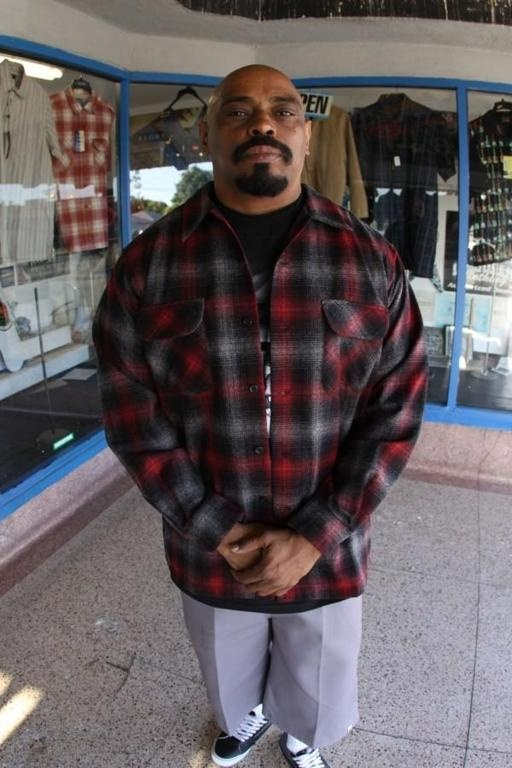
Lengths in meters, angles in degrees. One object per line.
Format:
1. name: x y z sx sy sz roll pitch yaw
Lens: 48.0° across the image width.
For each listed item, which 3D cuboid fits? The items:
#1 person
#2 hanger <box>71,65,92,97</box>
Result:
1. person: -0.010 0.145 1.225 0.711 1.530 0.410 1 16 14
2. hanger: -0.879 -1.512 2.858 0.122 0.085 0.136 -8 23 -28
